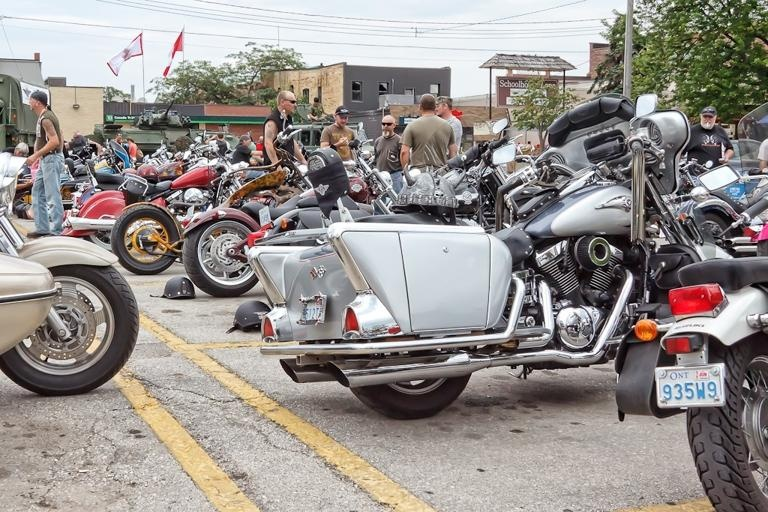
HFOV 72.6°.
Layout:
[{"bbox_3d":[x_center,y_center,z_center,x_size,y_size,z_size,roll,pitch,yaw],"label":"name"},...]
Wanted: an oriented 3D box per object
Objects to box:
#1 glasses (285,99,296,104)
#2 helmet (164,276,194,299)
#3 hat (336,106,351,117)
[{"bbox_3d":[-1.640,-2.804,9.428,0.135,0.037,0.135,3,5,37],"label":"glasses"},{"bbox_3d":[-3.155,0.489,8.090,0.461,0.320,0.275,-1,6,-22],"label":"helmet"},{"bbox_3d":[-0.819,-3.046,10.868,0.335,0.208,0.426,3,-3,-10],"label":"hat"}]
